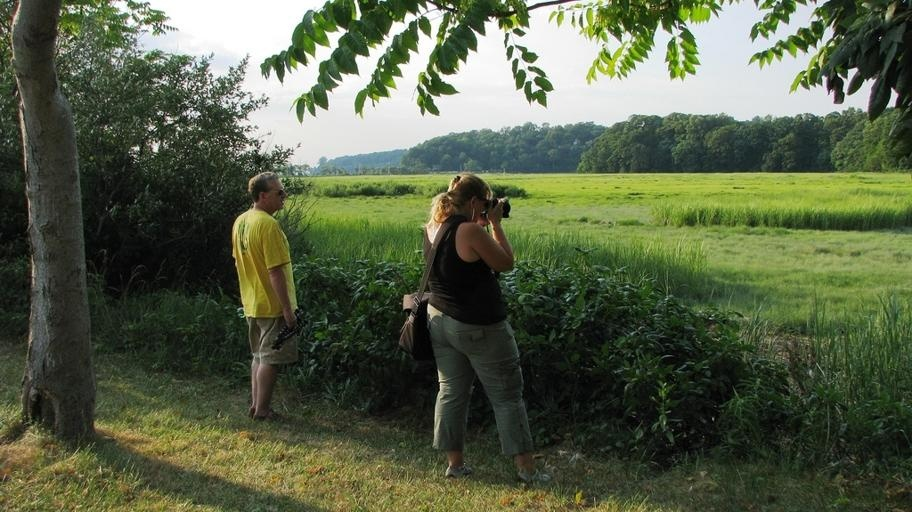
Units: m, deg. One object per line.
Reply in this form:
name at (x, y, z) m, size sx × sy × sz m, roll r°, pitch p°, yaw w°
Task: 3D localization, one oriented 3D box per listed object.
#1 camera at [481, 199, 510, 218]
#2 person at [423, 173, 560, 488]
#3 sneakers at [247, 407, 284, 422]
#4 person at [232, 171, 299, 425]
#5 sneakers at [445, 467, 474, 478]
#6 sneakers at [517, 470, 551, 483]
camera at (0.597, -0.673, 10.555) m, size 0.223 × 0.170 × 0.378 m, roll 6°, pitch 7°, yaw 36°
person at (0.283, 0.968, 10.380) m, size 1.491 × 4.143 × 0.608 m, roll 3°, pitch 4°, yaw -4°
sneakers at (-2.966, 2.485, 11.758) m, size 0.440 × 0.158 × 0.220 m, roll 1°, pitch 0°, yaw -11°
person at (-2.914, 0.623, 11.634) m, size 1.049 × 3.801 × 0.447 m, roll 5°, pitch 5°, yaw 28°
sneakers at (0.066, 3.037, 10.550) m, size 0.369 × 0.146 × 0.141 m, roll -2°, pitch 47°, yaw -7°
sneakers at (1.082, 3.033, 10.435) m, size 0.489 × 0.177 × 0.170 m, roll -1°, pitch 4°, yaw -6°
